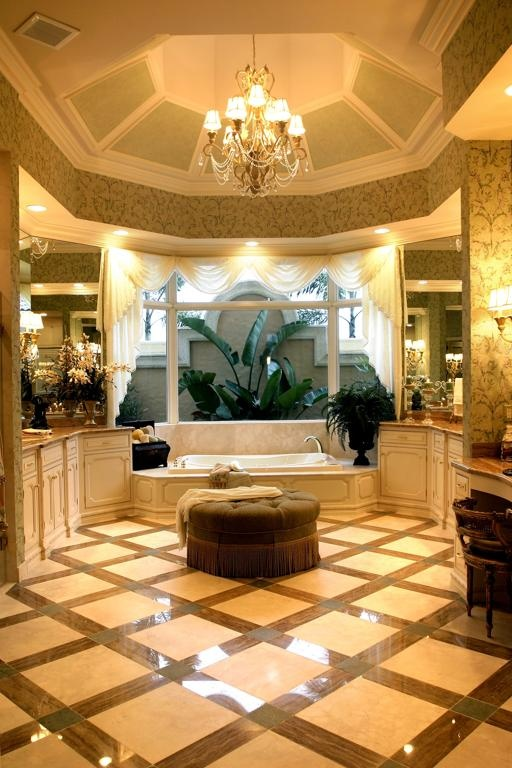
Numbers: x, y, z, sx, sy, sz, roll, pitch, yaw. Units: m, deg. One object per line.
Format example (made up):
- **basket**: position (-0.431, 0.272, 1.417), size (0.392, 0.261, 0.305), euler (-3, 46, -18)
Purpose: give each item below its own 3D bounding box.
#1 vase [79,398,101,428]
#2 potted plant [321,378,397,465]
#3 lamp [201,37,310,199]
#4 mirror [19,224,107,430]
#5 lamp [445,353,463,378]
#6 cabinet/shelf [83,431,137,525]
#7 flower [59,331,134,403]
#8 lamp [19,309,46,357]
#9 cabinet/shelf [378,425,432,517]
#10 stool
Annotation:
- **vase**: position (-1.743, 0.316, 5.719), size (0.245, 0.303, 0.257), euler (1, 3, 18)
- **potted plant**: position (1.192, 0.419, 6.043), size (0.754, 1.030, 0.501), euler (-1, -4, 11)
- **lamp**: position (0.033, -2.102, 4.180), size (0.653, 0.921, 0.686), euler (2, 8, 25)
- **mirror**: position (-2.026, -0.551, 5.604), size (0.890, 2.004, 0.502), euler (2, -5, -25)
- **lamp**: position (2.179, -0.204, 5.903), size (0.169, 0.272, 0.108), euler (-3, -5, 35)
- **cabinet/shelf**: position (-1.627, 0.951, 5.735), size (0.600, 0.947, 0.468), euler (-2, 1, -28)
- **flower**: position (-1.902, -0.118, 5.858), size (0.531, 0.669, 0.677), euler (22, 17, 34)
- **lamp**: position (-2.263, -0.513, 5.402), size (0.209, 0.501, 0.349), euler (2, -5, -23)
- **cabinet/shelf**: position (1.647, 0.867, 5.900), size (0.567, 0.991, 0.479), euler (1, 10, 20)
- **stool**: position (-0.010, 1.130, 4.167), size (1.004, 0.520, 1.030), euler (-1, -4, 9)
